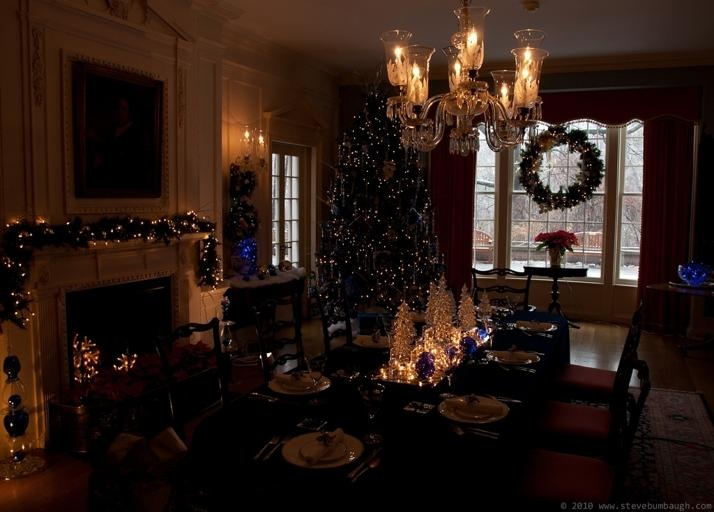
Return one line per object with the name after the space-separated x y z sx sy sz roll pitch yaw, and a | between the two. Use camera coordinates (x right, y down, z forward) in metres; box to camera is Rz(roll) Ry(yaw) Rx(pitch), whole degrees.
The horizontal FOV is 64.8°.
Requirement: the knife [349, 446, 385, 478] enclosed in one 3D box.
0.055 1.113 3.001 0.059 0.060 0.514 27 4 13 | knife

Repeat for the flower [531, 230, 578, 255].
2.944 -0.226 8.273 0.431 0.340 0.468 -1 0 16 | flower

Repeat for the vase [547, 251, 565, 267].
2.942 0.032 8.357 0.241 0.306 0.255 -1 0 37 | vase

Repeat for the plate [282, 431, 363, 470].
-0.188 1.039 3.090 0.456 0.148 0.283 -1 5 8 | plate

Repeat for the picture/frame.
-2.286 -1.184 5.216 0.163 1.829 1.509 1 4 29 | picture/frame
